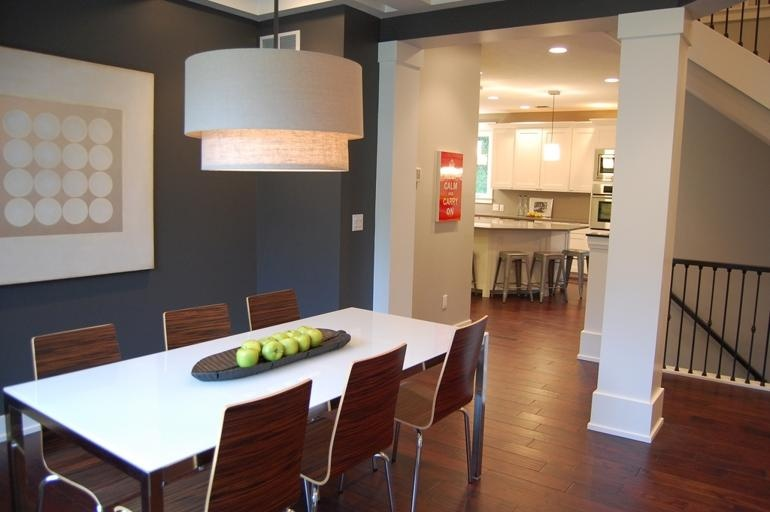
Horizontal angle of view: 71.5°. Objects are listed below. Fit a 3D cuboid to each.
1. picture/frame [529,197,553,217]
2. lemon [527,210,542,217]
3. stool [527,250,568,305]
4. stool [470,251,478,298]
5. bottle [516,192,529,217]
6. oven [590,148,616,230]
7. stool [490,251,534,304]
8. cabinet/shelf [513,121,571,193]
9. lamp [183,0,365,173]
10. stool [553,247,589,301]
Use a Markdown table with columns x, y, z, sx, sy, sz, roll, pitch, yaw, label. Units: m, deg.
| x | y | z | sx | sy | sz | roll | pitch | yaw | label |
| --- | --- | --- | --- | --- | --- | --- | --- | --- | --- |
| 3.296 | -1.032 | 11.282 | 0.391 | 0.411 | 0.031 | -10 | 0 | 22 | picture/frame |
| 3.119 | -0.886 | 11.192 | 0.304 | 0.118 | 0.447 | 6 | 14 | 21 | lemon |
| 2.760 | 0.304 | 9.017 | 0.538 | 0.756 | 0.497 | -2 | 7 | -12 | stool |
| 1.505 | 0.283 | 8.896 | 0.147 | 0.712 | 0.123 | 8 | 15 | 27 | stool |
| 2.952 | -1.129 | 11.471 | 0.244 | 0.501 | 0.157 | 4 | 14 | 14 | bottle |
| 4.105 | -1.290 | 10.175 | 0.354 | 1.476 | 0.613 | 5 | 14 | 18 | oven |
| 2.094 | 0.316 | 8.783 | 0.549 | 0.733 | 0.570 | 1 | 5 | 0 | stool |
| 3.177 | -2.037 | 10.762 | 1.317 | 1.528 | 0.531 | 4 | 8 | 34 | cabinet/shelf |
| -0.612 | -0.780 | 3.054 | 0.872 | 0.858 | 0.879 | 0 | 1 | -8 | lamp |
| 3.107 | 0.274 | 8.951 | 0.520 | 0.684 | 0.500 | 2 | 4 | -37 | stool |
